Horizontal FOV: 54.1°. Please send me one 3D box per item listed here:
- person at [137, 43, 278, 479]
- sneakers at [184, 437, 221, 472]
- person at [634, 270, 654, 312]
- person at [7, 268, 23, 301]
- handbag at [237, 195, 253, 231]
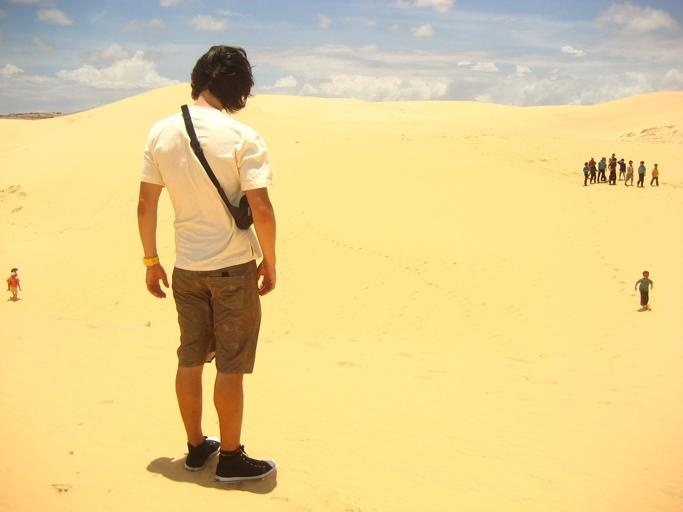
[{"bbox_3d":[-1.096,0.087,5.593,1.054,3.572,0.768,-3,13,-13],"label":"person"},{"bbox_3d":[-1.192,1.716,5.861,0.152,0.194,0.441,1,7,15],"label":"sneakers"},{"bbox_3d":[4.314,0.395,9.519,0.256,0.510,0.977,6,15,25],"label":"person"},{"bbox_3d":[-4.515,0.311,9.181,0.173,0.376,0.914,-7,15,-26],"label":"person"},{"bbox_3d":[-0.811,-0.351,5.528,0.142,0.285,0.066,-9,15,-34],"label":"handbag"}]
